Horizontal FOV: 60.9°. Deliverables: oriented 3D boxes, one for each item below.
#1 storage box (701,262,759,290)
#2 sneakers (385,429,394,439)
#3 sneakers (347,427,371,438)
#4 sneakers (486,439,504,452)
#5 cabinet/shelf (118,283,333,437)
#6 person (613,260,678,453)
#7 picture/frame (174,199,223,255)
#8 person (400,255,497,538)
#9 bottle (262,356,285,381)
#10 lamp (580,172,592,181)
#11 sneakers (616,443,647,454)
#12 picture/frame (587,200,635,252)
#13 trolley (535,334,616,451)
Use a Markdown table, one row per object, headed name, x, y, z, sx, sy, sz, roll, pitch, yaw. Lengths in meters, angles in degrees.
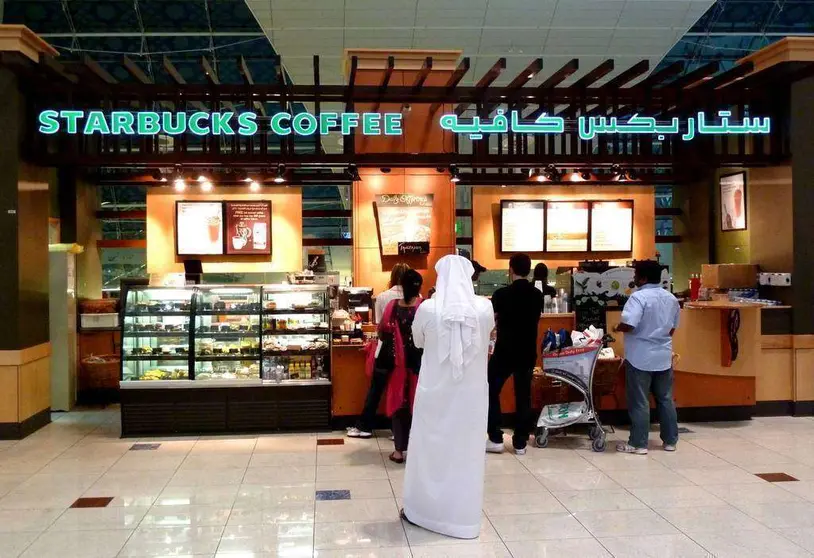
| name | x | y | z | sx | sy | sz | roll | pitch | yaw |
| --- | --- | --- | --- | --- | --- | --- | --- | --- | --- |
| storage box | 4.708 | -0.028 | 10.132 | 0.713 | 0.408 | 0.275 | 7 | 15 | 32 |
| sneakers | -0.232 | 1.957 | 8.749 | 0.082 | 0.093 | 0.227 | 1 | 3 | -6 |
| sneakers | -0.618 | 1.932 | 8.763 | 0.329 | 0.125 | 0.116 | 4 | -2 | 5 |
| sneakers | 1.017 | 1.982 | 8.195 | 0.116 | 0.105 | 0.275 | 1 | 0 | -23 |
| cabinet/shelf | -2.316 | 1.012 | 8.946 | 2.686 | 1.841 | 0.638 | -2 | 13 | -4 |
| person | 2.825 | 1.079 | 8.137 | 0.756 | 1.865 | 0.579 | -1 | 14 | 0 |
| picture/frame | -3.351 | -0.839 | 11.121 | 0.983 | 0.987 | 0.104 | 1 | -2 | -5 |
| person | 0.365 | 1.083 | 6.569 | 0.852 | 2.540 | 0.862 | 1 | 14 | 6 |
| bottle | -1.667 | 1.188 | 9.112 | 0.427 | 0.372 | 0.292 | 0 | -12 | -4 |
| lamp | 2.912 | -1.696 | 11.399 | 0.113 | 0.167 | 0.436 | 6 | 14 | 26 |
| sneakers | 2.638 | 1.977 | 8.166 | 0.339 | 0.122 | 0.120 | 2 | -1 | 19 |
| picture/frame | 3.399 | -0.914 | 11.728 | 0.969 | 0.977 | 0.074 | 1 | -2 | -6 |
| trolley | 1.987 | 1.345 | 8.305 | 1.256 | 1.517 | 1.120 | 1 | -2 | 7 |
